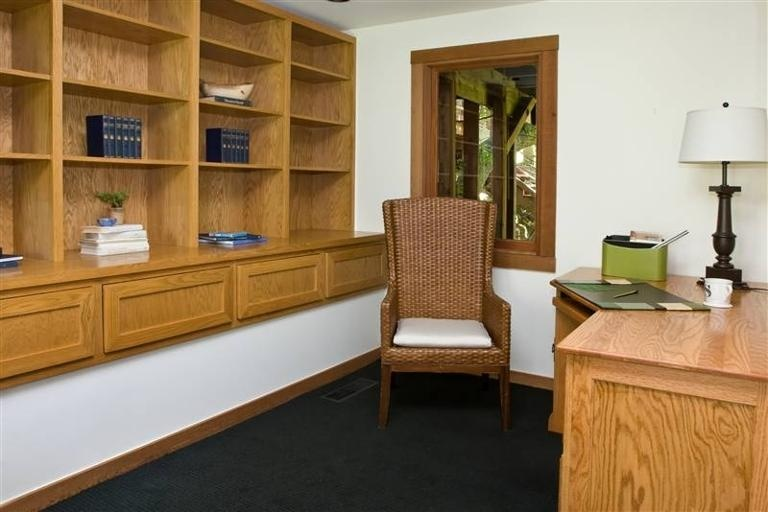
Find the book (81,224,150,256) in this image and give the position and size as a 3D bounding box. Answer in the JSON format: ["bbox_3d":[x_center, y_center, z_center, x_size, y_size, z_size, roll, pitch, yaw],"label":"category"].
[{"bbox_3d":[-1.613,-0.098,3.361,0.306,0.134,0.229,-1,3,-42],"label":"book"}]

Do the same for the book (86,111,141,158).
[{"bbox_3d":[-1.657,-0.733,3.446,0.318,0.247,0.310,-2,15,-22],"label":"book"}]

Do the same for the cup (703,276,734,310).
[{"bbox_3d":[1.682,0.192,2.880,0.134,0.112,0.160,-2,3,-42],"label":"cup"}]

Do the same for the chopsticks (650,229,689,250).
[{"bbox_3d":[1.858,-0.112,3.659,0.026,0.186,0.025,49,-3,15],"label":"chopsticks"}]

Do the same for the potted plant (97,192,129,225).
[{"bbox_3d":[-1.700,-0.306,3.535,0.176,0.155,0.150,-2,-13,-35],"label":"potted plant"}]

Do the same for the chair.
[{"bbox_3d":[0.399,0.336,3.825,0.854,1.386,0.845,3,15,-4],"label":"chair"}]

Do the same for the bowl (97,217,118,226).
[{"bbox_3d":[-1.681,-0.205,3.415,0.083,0.033,0.078,1,2,0],"label":"bowl"}]
